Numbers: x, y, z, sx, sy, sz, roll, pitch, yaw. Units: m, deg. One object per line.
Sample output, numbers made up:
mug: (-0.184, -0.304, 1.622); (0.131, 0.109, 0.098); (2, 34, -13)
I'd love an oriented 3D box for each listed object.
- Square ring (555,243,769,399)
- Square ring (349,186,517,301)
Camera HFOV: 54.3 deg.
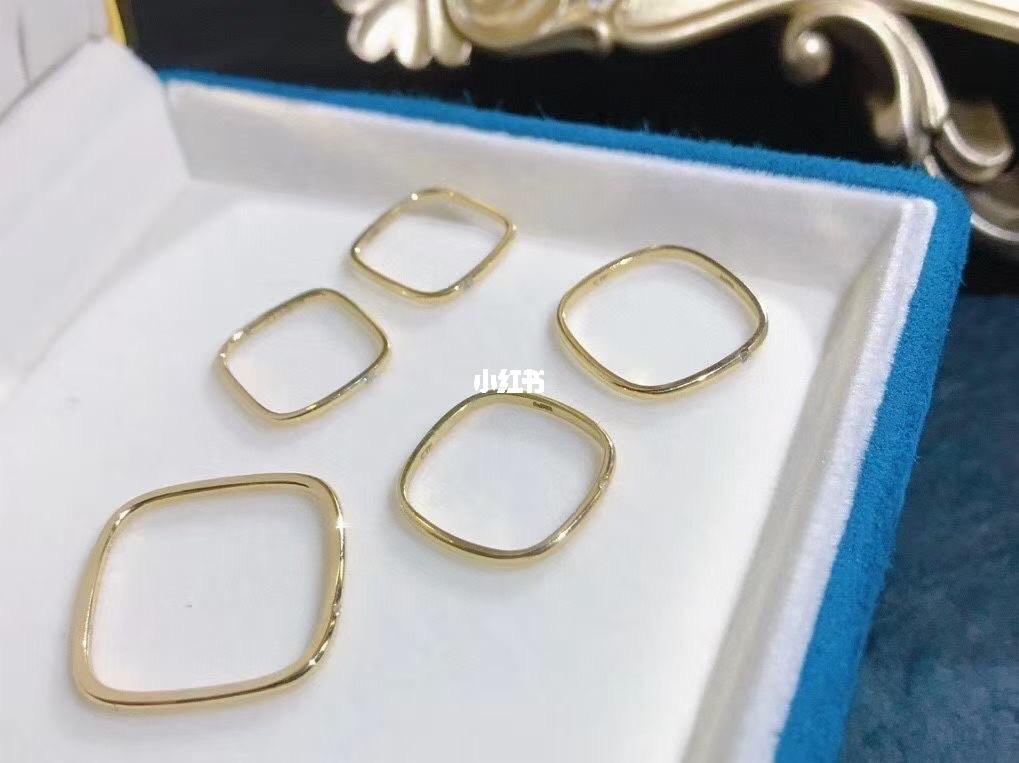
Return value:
Square ring: (0.164, -0.057, 1.051); (0.204, 0.048, 0.236); (-20, 39, -5)
Square ring: (-0.074, -0.146, 1.094); (0.140, 0.034, 0.147); (34, 65, 20)
